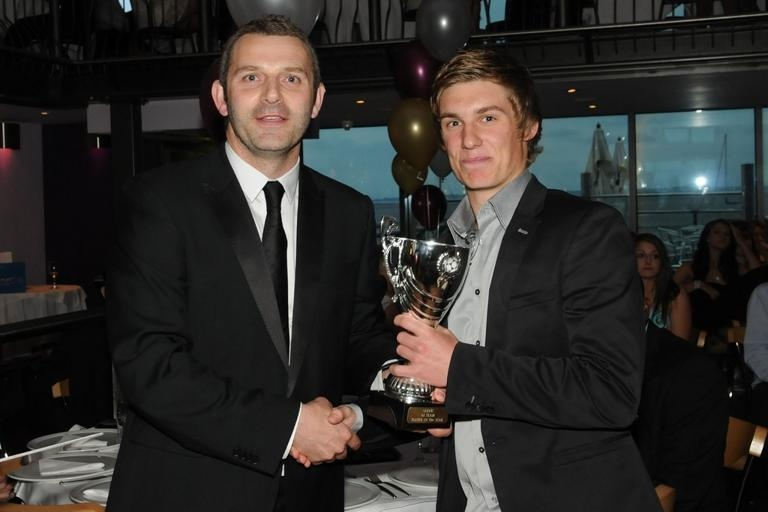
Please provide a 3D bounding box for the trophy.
[{"bbox_3d":[0.116,0.229,2.010,0.397,0.655,0.256,11,-7,-32],"label":"trophy"}]

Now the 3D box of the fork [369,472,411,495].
[{"bbox_3d":[0.014,0.920,2.455,0.055,0.021,0.202,-4,5,-30],"label":"fork"}]
